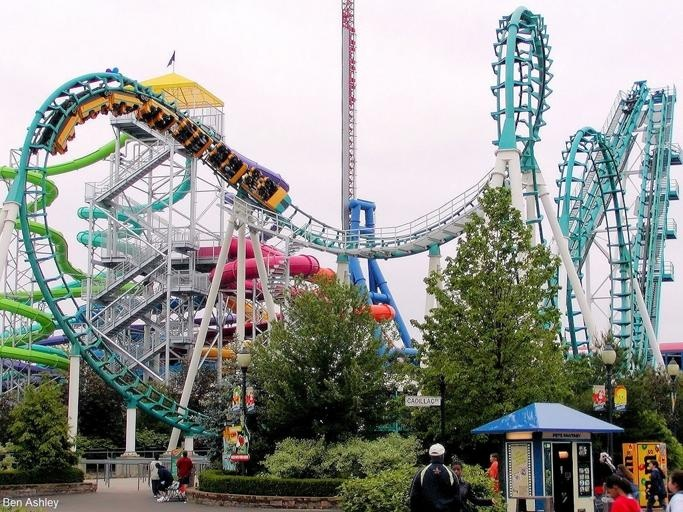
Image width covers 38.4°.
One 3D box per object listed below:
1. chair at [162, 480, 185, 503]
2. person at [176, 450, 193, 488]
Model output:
[{"bbox_3d":[-6.174,8.703,36.039,0.946,0.764,0.456,5,-20,-13],"label":"chair"},{"bbox_3d":[-5.952,8.125,37.135,0.512,1.544,1.517,4,-20,-9],"label":"person"}]
